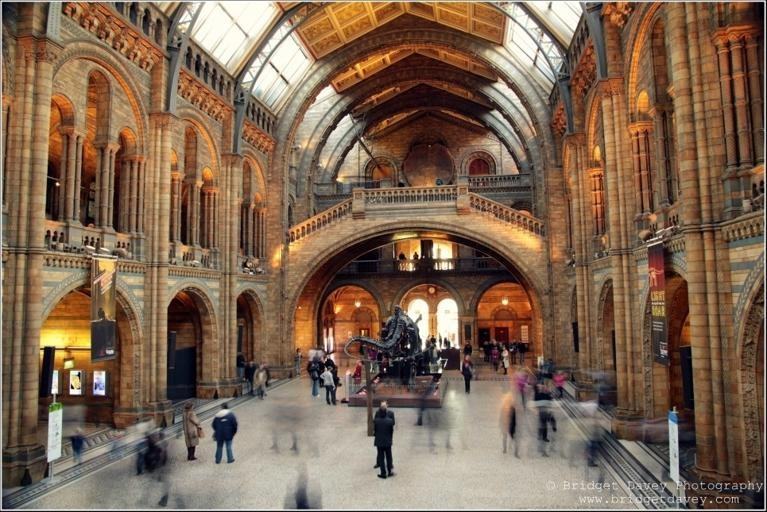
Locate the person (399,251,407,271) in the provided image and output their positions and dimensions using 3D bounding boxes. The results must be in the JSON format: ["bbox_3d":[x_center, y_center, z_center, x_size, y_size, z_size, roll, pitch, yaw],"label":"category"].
[{"bbox_3d":[1.269,0.362,42.392,0.549,1.095,0.922,-1,3,2],"label":"person"}]

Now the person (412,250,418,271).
[{"bbox_3d":[2.125,0.387,42.083,0.402,1.067,0.475,-1,3,1],"label":"person"}]
